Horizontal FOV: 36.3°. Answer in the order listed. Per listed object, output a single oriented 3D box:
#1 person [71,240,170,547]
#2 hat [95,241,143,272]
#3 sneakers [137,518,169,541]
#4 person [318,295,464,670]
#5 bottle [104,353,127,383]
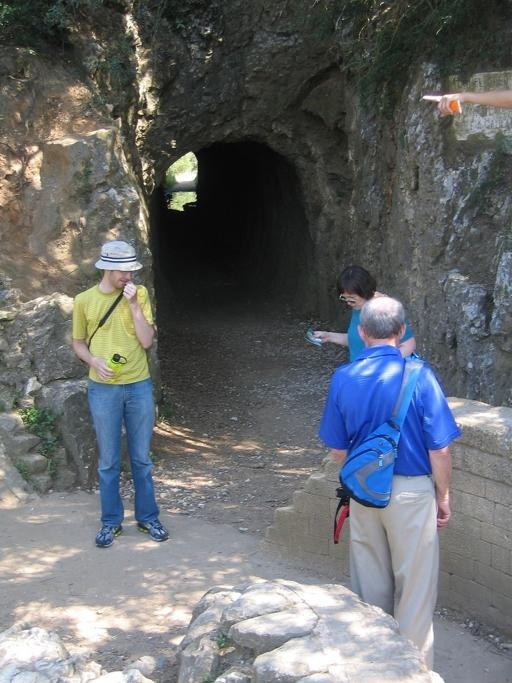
[{"bbox_3d":[-0.766,0.296,4.529,0.701,1.744,0.380,7,6,-12],"label":"person"},{"bbox_3d":[-0.779,-0.488,4.377,0.231,0.100,0.218,10,15,40],"label":"hat"},{"bbox_3d":[-0.617,1.117,4.639,0.209,0.073,0.079,8,8,39],"label":"sneakers"},{"bbox_3d":[0.502,0.551,3.055,0.588,1.455,0.297,9,6,13],"label":"person"},{"bbox_3d":[-0.799,0.145,4.363,0.083,0.181,0.079,18,41,-16],"label":"bottle"}]
